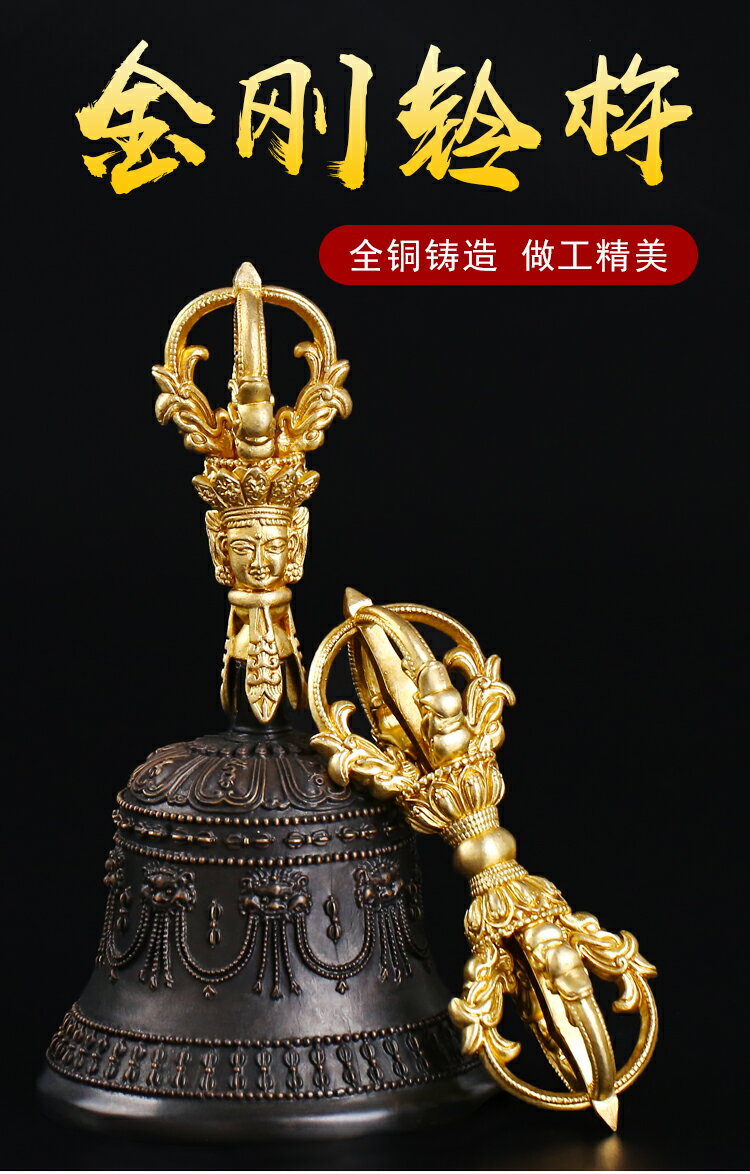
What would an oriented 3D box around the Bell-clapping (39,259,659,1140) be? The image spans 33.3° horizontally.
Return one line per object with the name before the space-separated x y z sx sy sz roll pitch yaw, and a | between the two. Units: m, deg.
Bell-clapping | -0.102 0.234 2.248 1.092 1.309 0.800 -1 3 32
